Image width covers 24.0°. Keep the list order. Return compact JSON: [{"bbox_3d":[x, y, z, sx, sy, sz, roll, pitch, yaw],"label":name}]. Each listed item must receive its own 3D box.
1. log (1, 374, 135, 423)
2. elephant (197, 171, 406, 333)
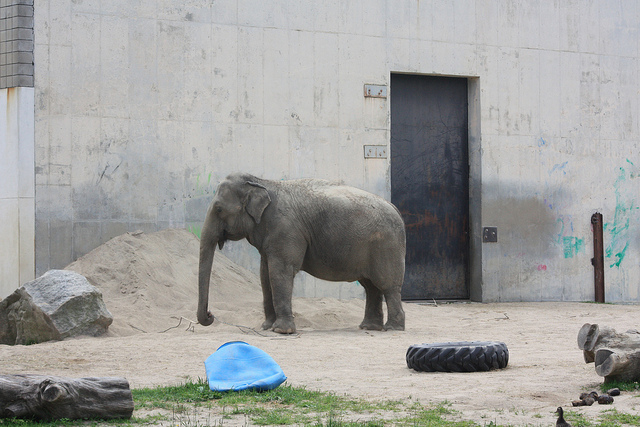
[{"bbox_3d":[-4.253,3.155,25.438,2.183,0.785,0.214,1,-3,-4],"label":"log"},{"bbox_3d":[-0.462,0.842,31.133,4.733,4.008,2.147,2,-6,-7],"label":"elephant"}]
